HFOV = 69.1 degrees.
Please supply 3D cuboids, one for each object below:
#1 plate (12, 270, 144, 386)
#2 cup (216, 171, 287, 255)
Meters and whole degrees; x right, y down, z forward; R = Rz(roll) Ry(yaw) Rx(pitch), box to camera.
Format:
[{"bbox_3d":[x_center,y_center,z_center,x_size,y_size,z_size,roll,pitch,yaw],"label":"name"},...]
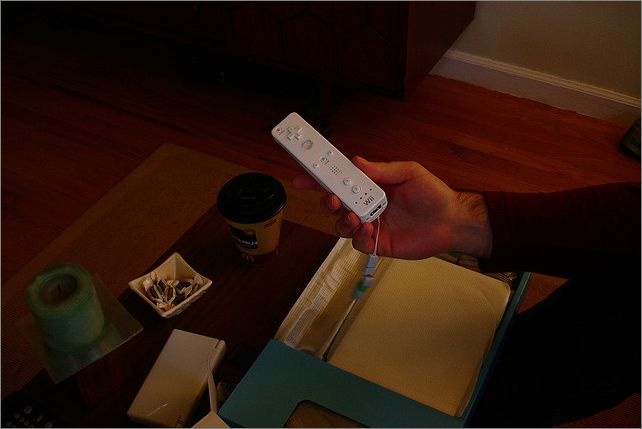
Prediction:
[{"bbox_3d":[-0.525,0.242,1.008,0.195,0.041,0.200,-41,70,-17],"label":"plate"},{"bbox_3d":[-0.121,-0.001,1.093,0.169,0.171,0.160,0,53,0],"label":"cup"}]
